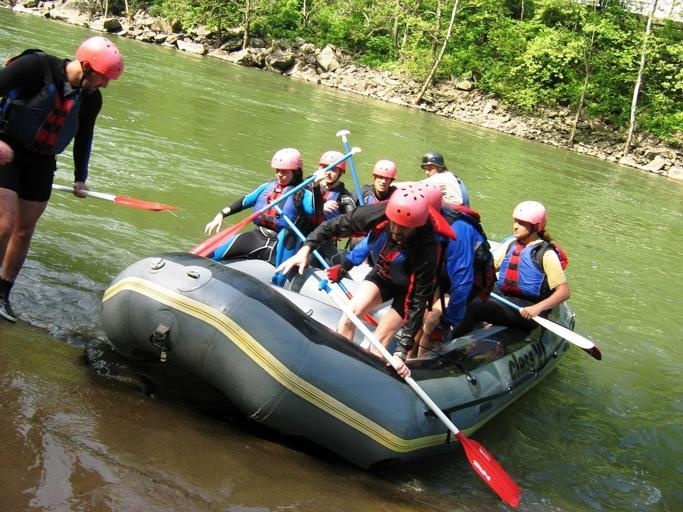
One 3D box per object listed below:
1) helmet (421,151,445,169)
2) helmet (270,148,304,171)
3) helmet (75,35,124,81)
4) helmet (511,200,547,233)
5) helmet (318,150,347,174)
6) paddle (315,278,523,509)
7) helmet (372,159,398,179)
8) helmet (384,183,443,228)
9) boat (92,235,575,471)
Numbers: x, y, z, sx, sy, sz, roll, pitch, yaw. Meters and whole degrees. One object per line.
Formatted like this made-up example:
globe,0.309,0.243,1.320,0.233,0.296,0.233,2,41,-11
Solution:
helmet,1.174,-1.141,8.195,0.353,0.142,0.235,3,-14,-21
helmet,-0.563,-1.026,7.152,0.258,0.179,0.317,13,26,28
helmet,-1.958,-1.623,5.510,0.354,0.333,0.332,10,12,-20
helmet,2.012,-0.421,7.060,0.437,0.270,0.293,-14,31,-17
helmet,-0.116,-1.074,7.650,0.276,0.196,0.302,12,25,13
paddle,0.623,1.212,5.728,2.962,0.264,0.144,38,-9,-9
helmet,0.480,-0.948,7.504,0.275,0.163,0.299,19,16,3
helmet,0.562,-0.405,5.480,0.323,0.337,0.332,18,12,16
boat,0.229,1.040,5.919,3.550,0.754,2.063,20,-1,-44
